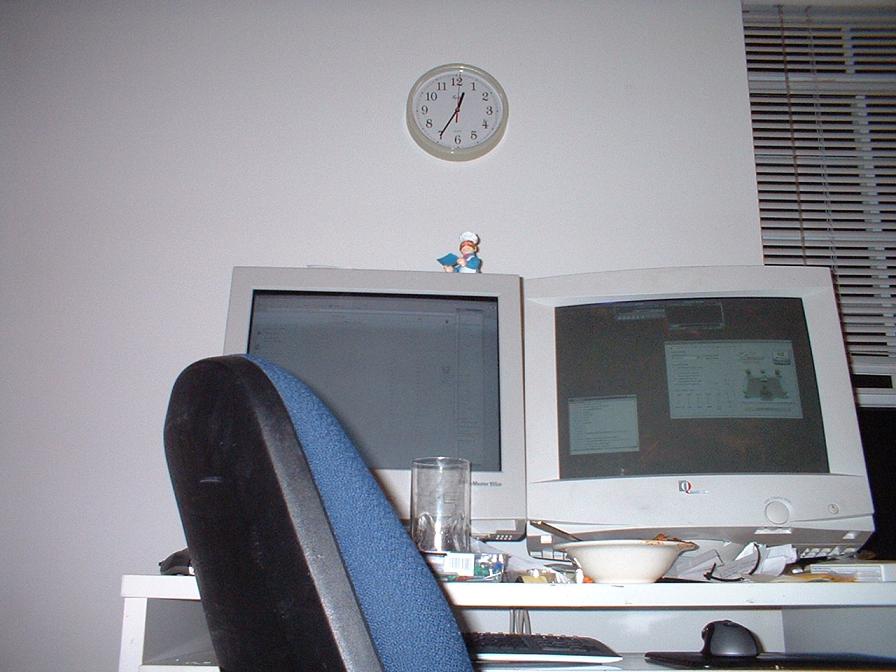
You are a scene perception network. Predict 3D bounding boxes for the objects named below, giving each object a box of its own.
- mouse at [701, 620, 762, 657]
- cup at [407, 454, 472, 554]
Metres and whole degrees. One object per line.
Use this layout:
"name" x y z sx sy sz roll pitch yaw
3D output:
"mouse" 0.544 0.557 1.459 0.073 0.031 0.077 3 -5 -14
"cup" -0.014 0.372 1.687 0.178 0.263 0.161 0 -24 -2
